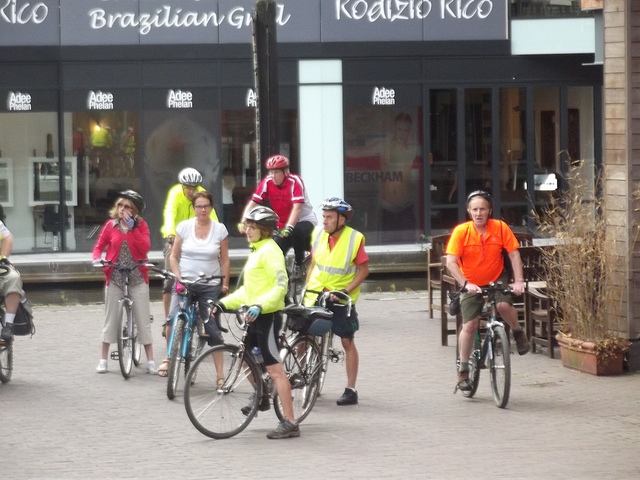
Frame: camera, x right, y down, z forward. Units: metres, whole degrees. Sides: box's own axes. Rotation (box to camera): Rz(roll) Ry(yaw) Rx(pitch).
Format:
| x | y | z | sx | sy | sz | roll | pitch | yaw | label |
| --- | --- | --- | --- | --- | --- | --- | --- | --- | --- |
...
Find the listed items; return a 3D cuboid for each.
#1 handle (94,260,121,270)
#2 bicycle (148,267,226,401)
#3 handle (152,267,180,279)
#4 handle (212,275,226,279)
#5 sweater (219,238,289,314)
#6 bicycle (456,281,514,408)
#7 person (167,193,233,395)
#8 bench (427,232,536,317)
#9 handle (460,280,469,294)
| x | y | z | sx | sy | sz | roll | pitch | yaw | label |
| --- | --- | --- | --- | --- | --- | --- | --- | --- | --- |
| -2.737 | 0.352 | 14.157 | 0.340 | 0.119 | 0.152 | -9 | 11 | -43 | handle |
| -1.690 | 1.064 | 13.750 | 0.753 | 1.428 | 2.192 | 6 | 8 | 0 | bicycle |
| -1.870 | 0.422 | 13.368 | 0.248 | 0.087 | 0.187 | 17 | -2 | -19 | handle |
| -1.221 | 0.462 | 13.353 | 0.173 | 0.057 | 0.045 | -1 | 5 | -32 | handle |
| -0.624 | 0.408 | 11.791 | 0.536 | 0.886 | 0.512 | 0 | 9 | -11 | sweater |
| 1.995 | 1.241 | 12.807 | 0.704 | 1.402 | 0.811 | 3 | 8 | 8 | bicycle |
| -1.461 | 0.588 | 13.725 | 1.009 | 2.365 | 1.009 | 13 | 19 | 29 | person |
| 2.414 | 0.931 | 17.082 | 1.823 | 1.628 | 1.156 | 0 | 5 | 12 | bench |
| 1.674 | 0.556 | 12.805 | 0.033 | 0.122 | 0.117 | 16 | -9 | 6 | handle |
